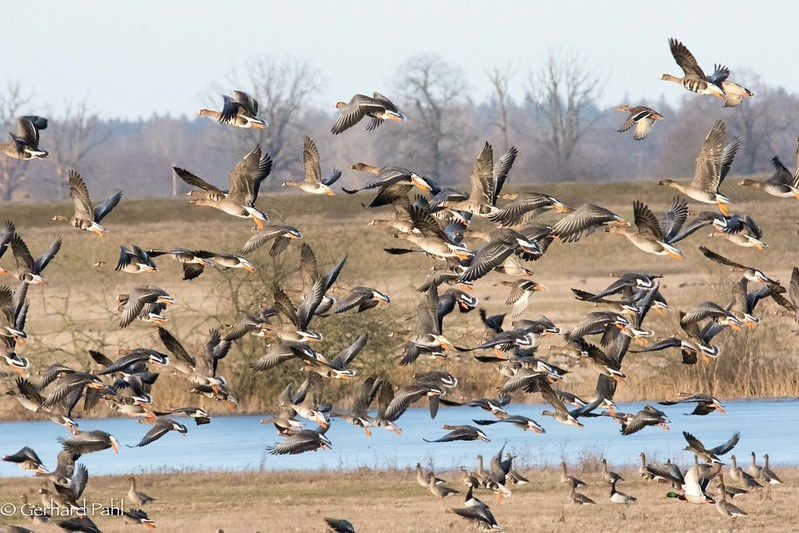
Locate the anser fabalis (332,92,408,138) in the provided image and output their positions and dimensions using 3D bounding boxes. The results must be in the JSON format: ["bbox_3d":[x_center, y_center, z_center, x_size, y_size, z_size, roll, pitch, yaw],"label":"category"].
[{"bbox_3d":[-0.985,-4.756,48.024,2.049,1.253,1.961,-1,15,0],"label":"anser fabalis"}]

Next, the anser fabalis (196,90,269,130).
[{"bbox_3d":[-5.095,-4.801,48.462,2.180,1.294,2.736,0,11,-22],"label":"anser fabalis"}]

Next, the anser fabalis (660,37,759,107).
[{"bbox_3d":[9.305,-5.895,48.030,2.248,2.172,2.360,8,17,31],"label":"anser fabalis"}]

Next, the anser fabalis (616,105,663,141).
[{"bbox_3d":[7.488,-4.535,49.545,1.335,1.446,2.699,1,15,8],"label":"anser fabalis"}]
